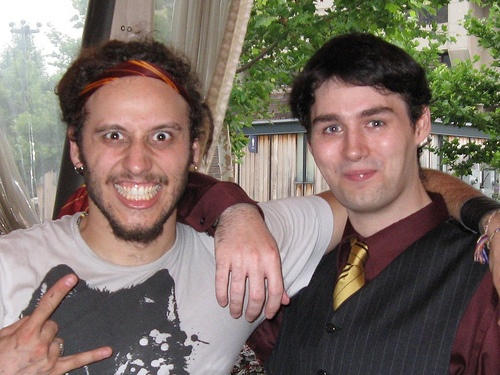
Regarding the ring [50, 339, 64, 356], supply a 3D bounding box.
[{"bbox_3d":[-0.775,0.630,1.773,0.044,0.024,0.056,50,7,-49],"label":"ring"}]
